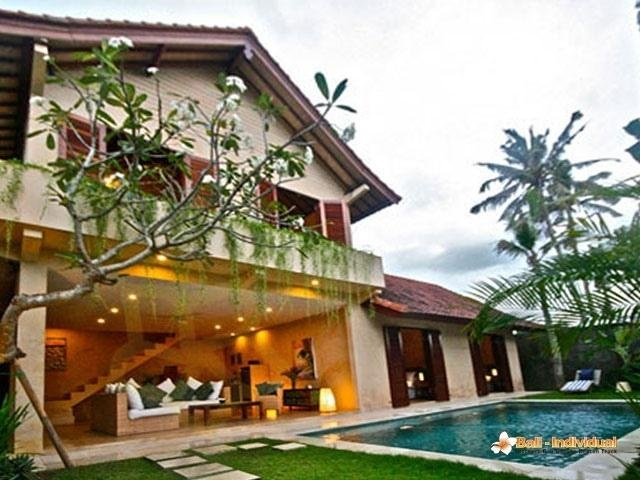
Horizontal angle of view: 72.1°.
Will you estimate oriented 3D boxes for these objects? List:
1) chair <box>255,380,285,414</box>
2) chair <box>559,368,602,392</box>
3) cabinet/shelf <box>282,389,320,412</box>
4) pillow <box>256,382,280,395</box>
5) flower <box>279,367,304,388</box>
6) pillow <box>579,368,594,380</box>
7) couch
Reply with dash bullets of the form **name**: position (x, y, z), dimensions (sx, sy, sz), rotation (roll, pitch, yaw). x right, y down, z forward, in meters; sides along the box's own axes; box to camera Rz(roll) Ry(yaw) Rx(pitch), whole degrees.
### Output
- **chair**: position (-1.529, 4.683, 13.318), dimensions (0.856, 0.994, 0.966), rotation (-3, -30, 4)
- **chair**: position (8.748, 4.706, 14.623), dimensions (0.867, 0.518, 1.608), rotation (-19, -17, 41)
- **cabinet/shelf**: position (-0.614, 4.697, 12.925), dimensions (0.469, 0.628, 1.817), rotation (6, -19, -29)
- **pillow**: position (-1.628, 4.590, 13.519), dimensions (0.582, 0.488, 0.167), rotation (2, -23, 28)
- **flower**: position (-0.886, 4.256, 13.652), dimensions (0.723, 0.616, 0.698), rotation (0, 2, -41)
- **pillow**: position (9.270, 4.675, 15.279), dimensions (0.351, 0.318, 0.185), rotation (-8, -38, 42)
- **couch**: position (-3.753, 3.955, 10.648), dimensions (1.858, 1.027, 3.184), rotation (-15, -19, 31)
